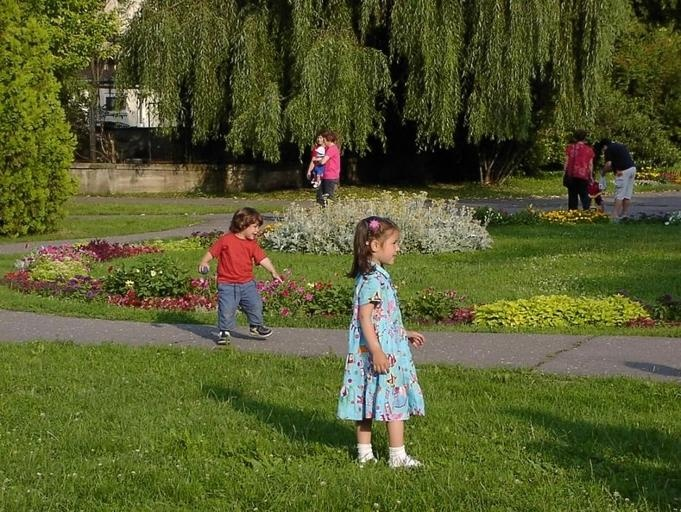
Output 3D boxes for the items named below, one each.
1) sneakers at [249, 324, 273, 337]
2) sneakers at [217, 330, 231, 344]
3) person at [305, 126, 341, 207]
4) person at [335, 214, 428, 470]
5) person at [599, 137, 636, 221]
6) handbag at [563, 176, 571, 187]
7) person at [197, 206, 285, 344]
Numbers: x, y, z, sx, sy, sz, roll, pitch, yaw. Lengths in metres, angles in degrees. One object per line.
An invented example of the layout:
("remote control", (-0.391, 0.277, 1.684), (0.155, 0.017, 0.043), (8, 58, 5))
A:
("sneakers", (-1.068, 1.005, 13.473), (0.296, 0.175, 0.133), (-2, 2, 14))
("sneakers", (-1.545, 1.049, 13.274), (0.195, 0.187, 0.401), (1, 6, -8))
("person", (-0.352, -1.855, 21.279), (0.616, 1.569, 1.947), (1, 5, -2))
("person", (0.405, 0.869, 10.270), (0.832, 2.507, 0.367), (1, 5, -1))
("person", (6.446, -1.802, 23.318), (0.742, 1.783, 2.787), (3, 5, 16))
("handbag", (5.225, -1.694, 22.980), (0.186, 0.215, 0.316), (2, 3, 6))
("person", (-1.342, 0.257, 13.227), (0.895, 1.778, 0.661), (1, 5, -5))
